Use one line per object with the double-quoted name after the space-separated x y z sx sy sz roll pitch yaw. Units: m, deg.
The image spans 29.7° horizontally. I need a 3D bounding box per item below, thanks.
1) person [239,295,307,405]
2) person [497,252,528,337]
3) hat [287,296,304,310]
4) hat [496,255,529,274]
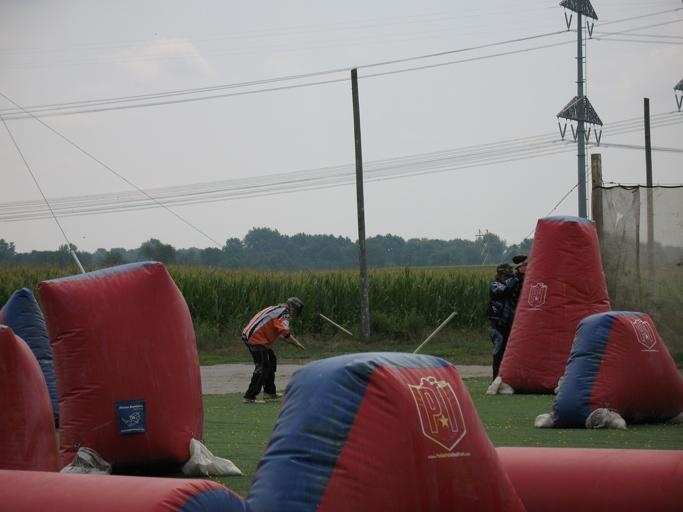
-1.048 1.197 16.540 1.118 1.779 0.929 0 0 -11 "person"
2.063 0.459 16.452 0.301 1.145 0.360 6 4 -39 "person"
-0.600 0.598 15.991 0.140 0.187 0.133 0 17 26 "hat"
2.135 0.114 16.800 0.231 0.217 0.744 -4 -2 38 "hat"
